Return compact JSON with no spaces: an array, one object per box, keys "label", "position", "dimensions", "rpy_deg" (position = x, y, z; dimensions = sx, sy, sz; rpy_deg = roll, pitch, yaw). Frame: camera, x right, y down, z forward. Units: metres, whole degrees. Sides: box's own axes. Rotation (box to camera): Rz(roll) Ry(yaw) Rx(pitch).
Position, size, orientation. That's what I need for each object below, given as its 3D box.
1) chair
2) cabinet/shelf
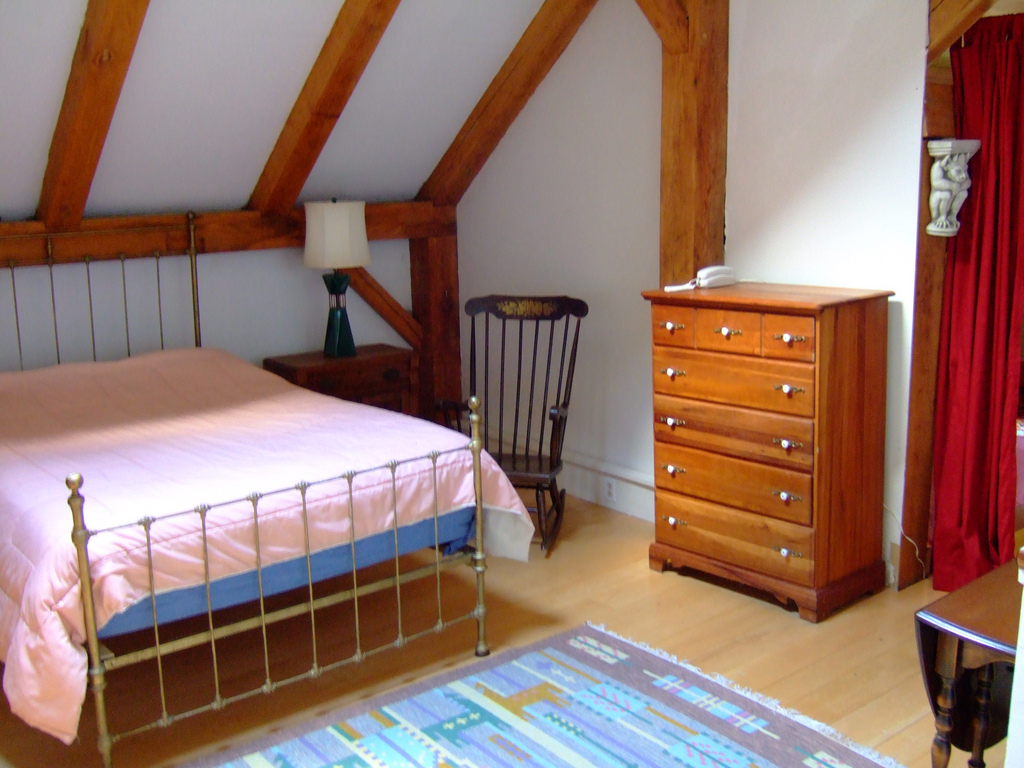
[{"label":"chair","position":[0.007,0.248,4.540],"dimensions":[0.731,1.395,0.691],"rpy_deg":[5,13,27]},{"label":"cabinet/shelf","position":[1.183,0.241,3.885],"dimensions":[0.647,1.350,0.935],"rpy_deg":[-9,11,-41]}]
